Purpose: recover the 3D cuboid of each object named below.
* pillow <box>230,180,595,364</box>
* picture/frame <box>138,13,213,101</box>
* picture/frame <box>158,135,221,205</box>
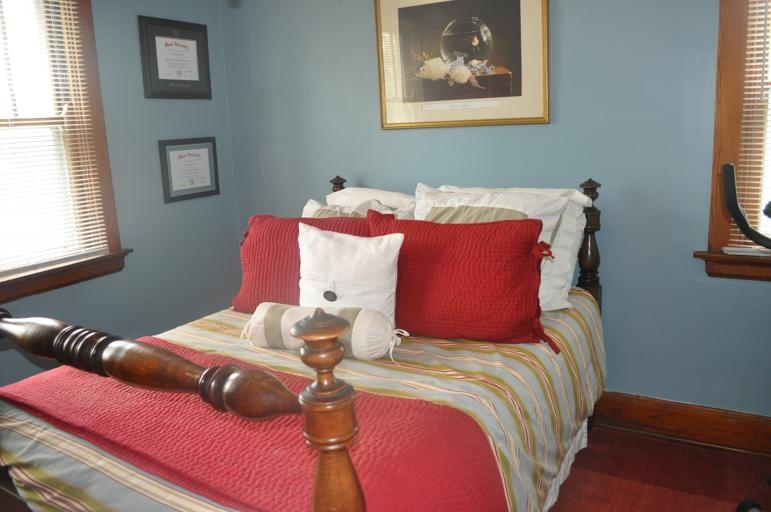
[{"bbox_3d":[0.310,-0.203,2.846,1.979,0.848,0.793,2,9,18],"label":"pillow"},{"bbox_3d":[-1.502,-1.400,3.646,0.049,0.666,0.669,8,13,38],"label":"picture/frame"},{"bbox_3d":[-1.453,-0.632,3.788,0.039,0.484,0.487,7,15,43],"label":"picture/frame"}]
